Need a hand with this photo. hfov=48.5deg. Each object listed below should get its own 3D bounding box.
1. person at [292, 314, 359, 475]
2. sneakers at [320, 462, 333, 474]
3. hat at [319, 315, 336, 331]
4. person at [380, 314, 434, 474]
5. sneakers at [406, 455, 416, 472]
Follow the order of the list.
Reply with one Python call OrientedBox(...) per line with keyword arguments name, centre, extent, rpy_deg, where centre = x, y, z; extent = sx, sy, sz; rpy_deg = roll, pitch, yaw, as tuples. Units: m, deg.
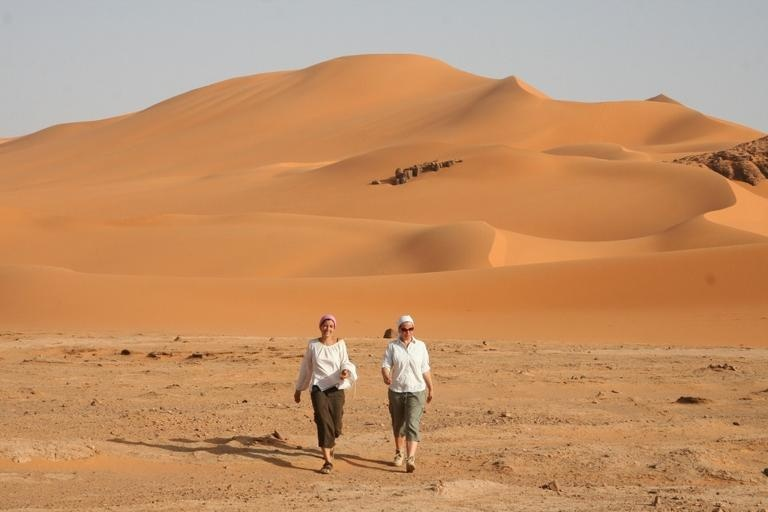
OrientedBox(name="person", centre=(-0.847, 1.929, 12.155), extent=(0.833, 2.191, 0.750), rpy_deg=(-1, 10, -5))
OrientedBox(name="sneakers", centre=(-0.821, 2.971, 12.079), extent=(0.192, 0.150, 0.227), rpy_deg=(0, 8, -3))
OrientedBox(name="hat", centre=(-0.815, 0.921, 12.110), extent=(0.191, 0.176, 0.210), rpy_deg=(-2, 9, -12))
OrientedBox(name="person", centre=(0.324, 1.946, 12.284), extent=(0.700, 2.167, 0.928), rpy_deg=(0, 10, 0))
OrientedBox(name="sneakers", centre=(0.366, 2.920, 11.998), extent=(0.118, 0.239, 0.109), rpy_deg=(-4, 39, 1))
